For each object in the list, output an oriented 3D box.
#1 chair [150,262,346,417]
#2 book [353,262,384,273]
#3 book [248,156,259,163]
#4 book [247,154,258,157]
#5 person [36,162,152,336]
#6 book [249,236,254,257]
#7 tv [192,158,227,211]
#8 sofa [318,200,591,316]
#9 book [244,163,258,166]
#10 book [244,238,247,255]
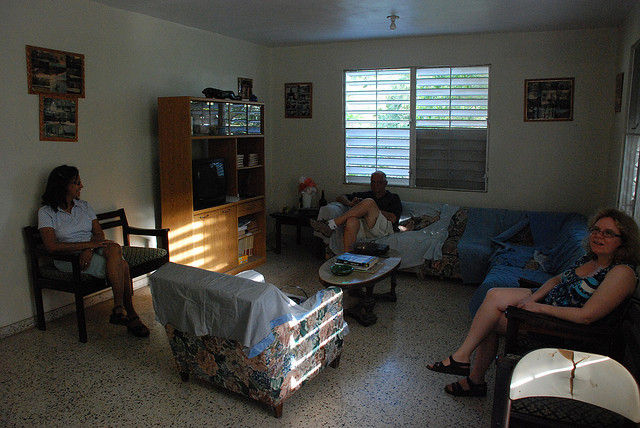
[{"bbox_3d":[-0.420,0.646,3.498,1.245,1.056,1.222,7,18,32],"label":"chair"},{"bbox_3d":[0.518,0.537,4.240,0.347,0.031,0.157,-8,15,-29],"label":"book"},{"bbox_3d":[-0.894,-0.728,5.786,0.024,0.092,0.100,-7,-1,23],"label":"book"},{"bbox_3d":[-0.906,-0.789,5.816,0.061,0.025,0.160,7,15,31],"label":"book"},{"bbox_3d":[-2.216,0.336,4.090,0.596,1.541,0.818,-13,18,-42],"label":"person"},{"bbox_3d":[-0.934,0.438,5.878,0.026,0.277,0.129,3,14,19],"label":"book"},{"bbox_3d":[-1.463,-0.391,5.287,0.352,0.566,0.640,3,11,29],"label":"tv"},{"bbox_3d":[1.910,0.448,5.142,2.108,0.817,1.798,7,15,33],"label":"sofa"},{"bbox_3d":[-0.901,-0.666,5.782,0.196,0.031,0.102,-11,16,-38],"label":"book"},{"bbox_3d":[-0.987,0.433,5.758,0.018,0.225,0.052,3,14,16],"label":"book"}]
